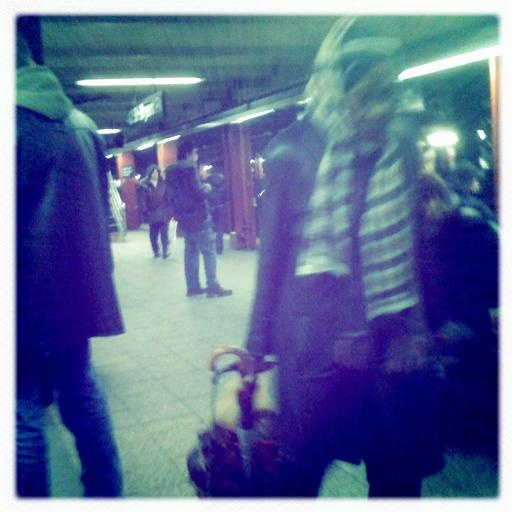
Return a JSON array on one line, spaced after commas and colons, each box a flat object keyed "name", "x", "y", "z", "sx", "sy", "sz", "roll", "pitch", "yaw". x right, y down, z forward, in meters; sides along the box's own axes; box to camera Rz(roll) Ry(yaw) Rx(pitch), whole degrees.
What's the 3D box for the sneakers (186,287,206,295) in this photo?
[{"name": "sneakers", "x": -0.809, "y": 0.466, "z": 6.578, "sx": 0.265, "sy": 0.125, "sz": 0.095, "roll": -12, "pitch": 3, "yaw": -9}]
